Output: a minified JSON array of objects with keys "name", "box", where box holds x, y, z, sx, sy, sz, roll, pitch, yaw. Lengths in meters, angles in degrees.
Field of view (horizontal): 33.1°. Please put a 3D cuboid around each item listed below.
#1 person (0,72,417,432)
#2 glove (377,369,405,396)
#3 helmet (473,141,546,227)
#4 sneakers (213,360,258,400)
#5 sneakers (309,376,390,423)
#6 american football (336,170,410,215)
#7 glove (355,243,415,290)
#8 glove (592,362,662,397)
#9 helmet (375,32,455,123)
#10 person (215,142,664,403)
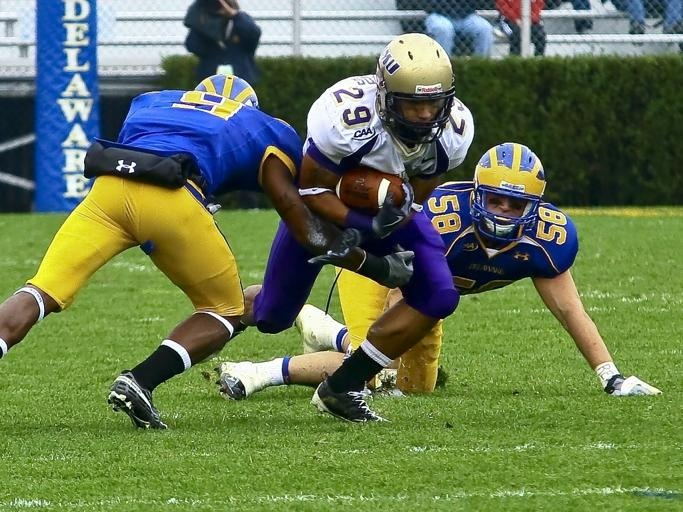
[{"name":"person","box":[-0.611,0.008,5.096,1.186,1.138,1.921,22,17,37]},{"name":"glove","box":[0.244,0.655,5.901,0.118,0.121,0.050,-2,-8,13]},{"name":"helmet","box":[0.815,-0.372,5.746,0.314,0.373,0.433,17,17,2]},{"name":"sneakers","box":[-0.542,0.634,5.804,0.148,0.144,0.200,43,54,12]},{"name":"sneakers","box":[0.016,0.664,5.396,0.412,0.187,0.139,14,3,-1]},{"name":"american football","box":[0.147,-0.304,5.162,0.259,0.193,0.201,6,12,23]},{"name":"glove","box":[0.202,0.059,5.225,0.202,0.097,0.171,20,40,-14]},{"name":"glove","box":[1.402,0.605,5.586,0.315,0.146,0.178,2,11,12]},{"name":"helmet","box":[0.310,-0.838,5.263,0.317,0.352,0.431,-1,33,-6]},{"name":"person","box":[0.267,0.206,6.006,1.201,1.035,1.952,5,-14,-37]}]
